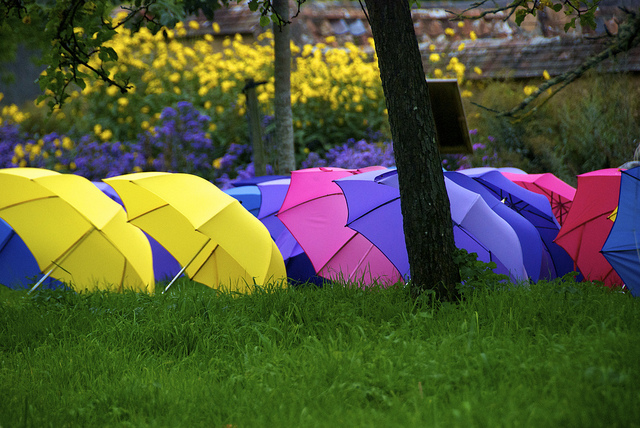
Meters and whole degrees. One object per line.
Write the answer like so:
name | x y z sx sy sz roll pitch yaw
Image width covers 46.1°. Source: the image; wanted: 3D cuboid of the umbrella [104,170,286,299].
umbrella | -1.354 0.207 8.813 1.555 1.185 1.704 29 -30 3
